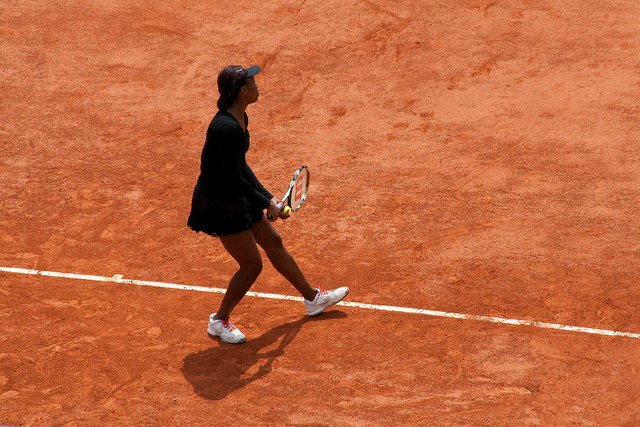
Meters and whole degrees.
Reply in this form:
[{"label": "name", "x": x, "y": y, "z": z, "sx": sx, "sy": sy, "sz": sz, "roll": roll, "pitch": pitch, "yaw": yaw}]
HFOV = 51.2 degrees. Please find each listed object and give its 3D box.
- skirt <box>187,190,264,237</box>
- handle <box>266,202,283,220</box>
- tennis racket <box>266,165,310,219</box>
[{"label": "skirt", "x": -1.147, "y": -0.030, "z": 7.956, "sx": 0.739, "sy": 0.329, "sz": 0.561, "roll": -5, "pitch": 12, "yaw": -18}, {"label": "handle", "x": -0.546, "y": -0.018, "z": 8.057, "sx": 0.086, "sy": 0.216, "sz": 0.156, "roll": 5, "pitch": 46, "yaw": -22}, {"label": "tennis racket", "x": -0.462, "y": -0.279, "z": 9.553, "sx": 0.958, "sy": 0.110, "sz": 0.367, "roll": -48, "pitch": 137, "yaw": -49}]
